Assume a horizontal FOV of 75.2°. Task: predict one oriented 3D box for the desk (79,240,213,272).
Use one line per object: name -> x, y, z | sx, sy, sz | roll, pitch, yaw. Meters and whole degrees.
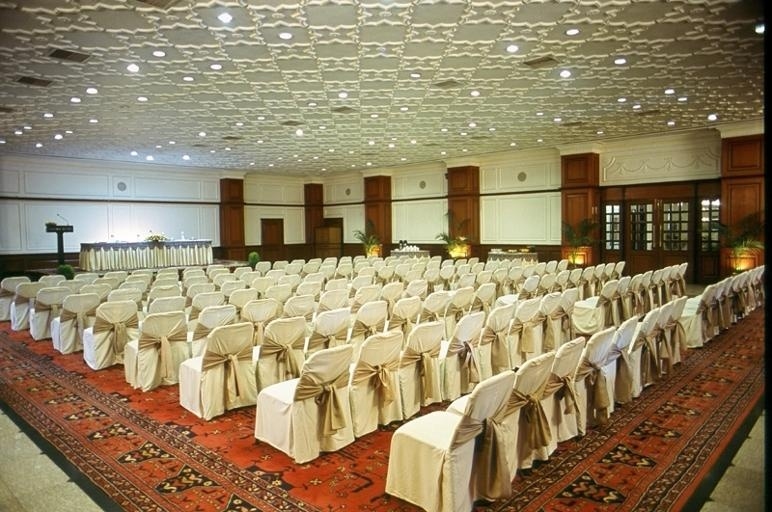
desk -> -7.286, -0.106, 15.589 | 3.824, 0.865, 0.632 | -3, 21, -10
